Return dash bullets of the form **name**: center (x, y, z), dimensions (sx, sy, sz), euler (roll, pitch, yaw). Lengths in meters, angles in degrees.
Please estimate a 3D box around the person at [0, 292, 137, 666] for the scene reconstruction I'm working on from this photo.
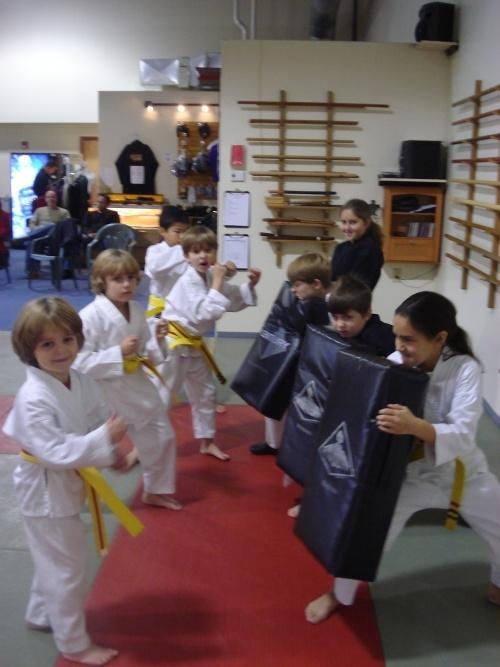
- **person**: center (-0.459, 0.380, 1.389), dimensions (0.288, 0.942, 0.294), euler (0, 11, -13)

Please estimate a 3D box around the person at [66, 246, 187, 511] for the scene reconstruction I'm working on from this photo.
- **person**: center (-0.461, 0.195, 2.081), dimensions (0.461, 0.982, 0.385), euler (-1, 10, -12)

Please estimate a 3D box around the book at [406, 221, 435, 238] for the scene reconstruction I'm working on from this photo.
- **book**: center (1.528, -0.927, 4.923), dimensions (0.254, 0.214, 0.140), euler (3, -3, 9)
